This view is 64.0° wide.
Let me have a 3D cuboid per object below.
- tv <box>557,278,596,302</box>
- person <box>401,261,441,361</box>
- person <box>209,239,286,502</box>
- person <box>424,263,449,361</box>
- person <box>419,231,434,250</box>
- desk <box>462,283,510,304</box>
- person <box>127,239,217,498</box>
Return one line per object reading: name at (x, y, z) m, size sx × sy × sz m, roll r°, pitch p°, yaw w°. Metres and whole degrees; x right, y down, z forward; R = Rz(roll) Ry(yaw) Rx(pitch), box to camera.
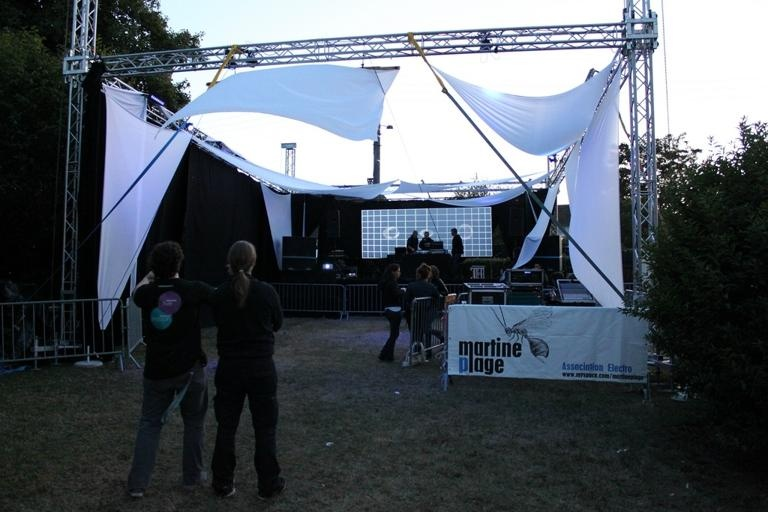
tv at (4.804, 0.878, 15.683) m, size 0.854 × 0.482 × 0.995 m, roll -1°, pitch 11°, yaw -5°
person at (0.747, 1.111, 12.985) m, size 0.550 × 1.817 × 1.285 m, roll 5°, pitch 11°, yaw 29°
person at (-1.721, 1.599, 7.628) m, size 0.875 × 2.761 × 0.552 m, roll -1°, pitch 9°, yaw -2°
person at (1.206, 0.939, 14.756) m, size 0.485 × 1.882 × 0.594 m, roll 10°, pitch 41°, yaw 7°
person at (1.538, -0.558, 22.481) m, size 0.525 × 1.110 × 0.408 m, roll -6°, pitch -25°, yaw 17°
desk at (2.150, 0.835, 13.071) m, size 0.785 × 0.322 × 1.945 m, roll 1°, pitch 11°, yaw 8°
person at (-2.699, 1.419, 7.772) m, size 1.074 × 3.028 × 0.610 m, roll -4°, pitch 10°, yaw -18°
